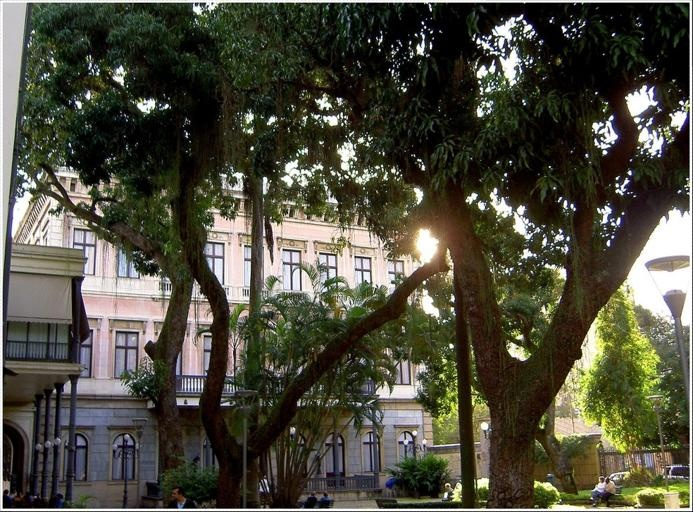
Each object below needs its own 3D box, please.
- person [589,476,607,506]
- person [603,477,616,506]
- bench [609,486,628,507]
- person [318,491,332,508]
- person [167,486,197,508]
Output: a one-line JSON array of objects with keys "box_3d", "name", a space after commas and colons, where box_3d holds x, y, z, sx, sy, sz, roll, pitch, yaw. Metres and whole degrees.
[{"box_3d": [8.415, 7.827, 23.165, 0.447, 0.878, 1.529, -5, -18, 20], "name": "person"}, {"box_3d": [8.776, 7.894, 23.258, 0.356, 0.351, 0.737, 6, 34, 22], "name": "person"}, {"box_3d": [8.962, 8.000, 23.051, 0.498, 0.248, 0.603, -3, -6, 11], "name": "bench"}, {"box_3d": [-0.647, 7.321, 20.879, 0.330, 0.384, 0.874, 2, -18, -5], "name": "person"}, {"box_3d": [-3.830, 5.616, 16.190, 0.392, 0.450, 3.223, 3, -19, -11], "name": "person"}]
